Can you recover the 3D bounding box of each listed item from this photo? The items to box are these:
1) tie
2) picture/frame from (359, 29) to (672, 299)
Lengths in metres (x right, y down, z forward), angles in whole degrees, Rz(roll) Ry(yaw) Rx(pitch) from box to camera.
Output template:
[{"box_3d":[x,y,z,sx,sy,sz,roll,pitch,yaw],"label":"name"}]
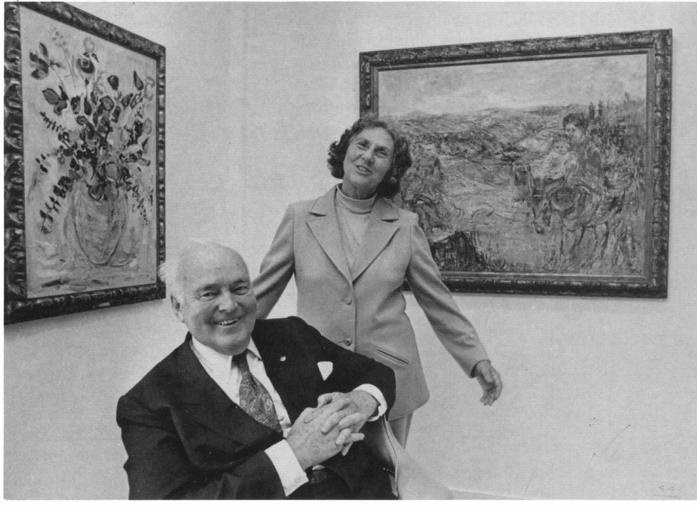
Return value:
[{"box_3d":[-0.398,0.625,3.391,0.125,0.484,0.078,-19,-3,-11],"label":"tie"},{"box_3d":[0.854,-0.442,3.757,1.146,1.101,0.079,0,3,12],"label":"picture/frame"}]
